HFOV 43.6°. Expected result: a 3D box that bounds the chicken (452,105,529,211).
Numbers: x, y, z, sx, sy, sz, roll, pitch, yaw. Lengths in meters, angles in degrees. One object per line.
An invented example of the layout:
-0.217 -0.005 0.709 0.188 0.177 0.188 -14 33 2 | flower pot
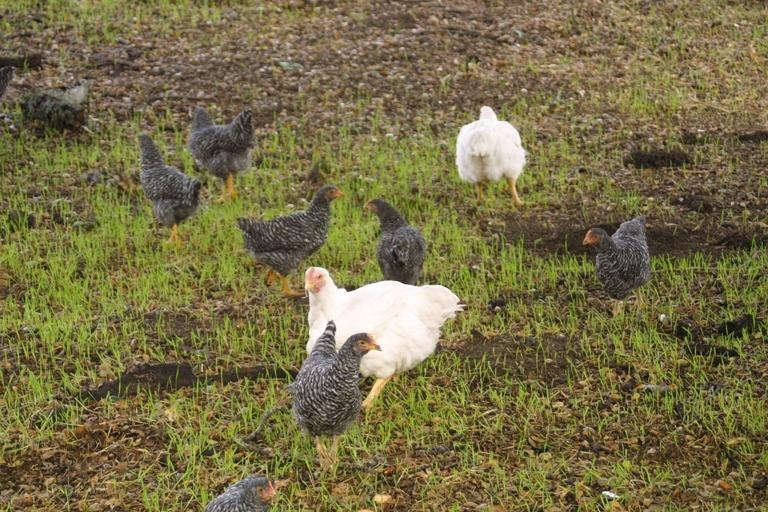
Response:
1.549 -1.340 14.033 0.969 1.217 0.695 -4 31 -15 | chicken

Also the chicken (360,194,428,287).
0.150 -0.284 12.705 0.560 1.273 1.242 -15 37 -11 | chicken

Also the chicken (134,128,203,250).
-2.973 -0.902 13.221 0.454 1.231 1.014 -23 41 -40 | chicken

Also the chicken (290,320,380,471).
-0.588 1.612 10.915 0.756 1.698 1.461 8 4 -25 | chicken

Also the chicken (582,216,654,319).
2.994 0.150 12.231 0.917 1.072 0.637 -17 37 -34 | chicken

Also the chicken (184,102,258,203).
-2.306 -1.471 13.752 0.729 1.319 1.436 -10 20 -33 | chicken
